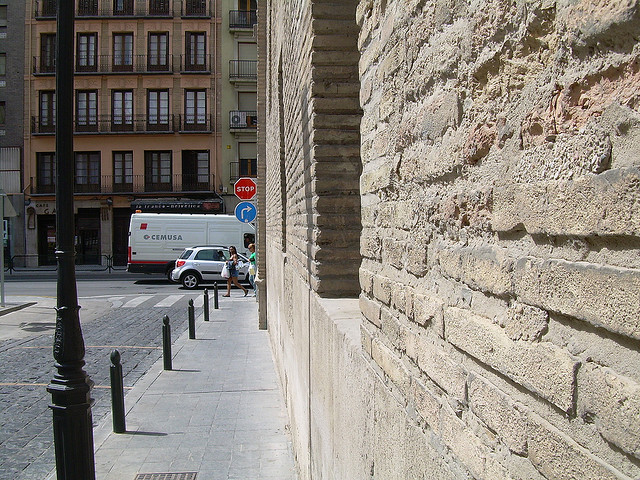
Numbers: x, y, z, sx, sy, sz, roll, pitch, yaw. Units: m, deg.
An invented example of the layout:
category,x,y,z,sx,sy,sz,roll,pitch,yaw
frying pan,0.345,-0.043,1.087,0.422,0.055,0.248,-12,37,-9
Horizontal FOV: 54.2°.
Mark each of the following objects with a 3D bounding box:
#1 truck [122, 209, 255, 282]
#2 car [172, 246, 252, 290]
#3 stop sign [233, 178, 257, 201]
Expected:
category,x,y,z,sx,sy,sz,roll,pitch,yaw
truck,-5.437,0.215,24.900,5.433,2.853,2.395,-1,0,-11
car,-3.869,0.970,22.268,2.608,1.268,1.491,-2,2,-13
stop sign,-1.913,-1.311,15.874,0.529,0.594,0.671,-1,1,-24
